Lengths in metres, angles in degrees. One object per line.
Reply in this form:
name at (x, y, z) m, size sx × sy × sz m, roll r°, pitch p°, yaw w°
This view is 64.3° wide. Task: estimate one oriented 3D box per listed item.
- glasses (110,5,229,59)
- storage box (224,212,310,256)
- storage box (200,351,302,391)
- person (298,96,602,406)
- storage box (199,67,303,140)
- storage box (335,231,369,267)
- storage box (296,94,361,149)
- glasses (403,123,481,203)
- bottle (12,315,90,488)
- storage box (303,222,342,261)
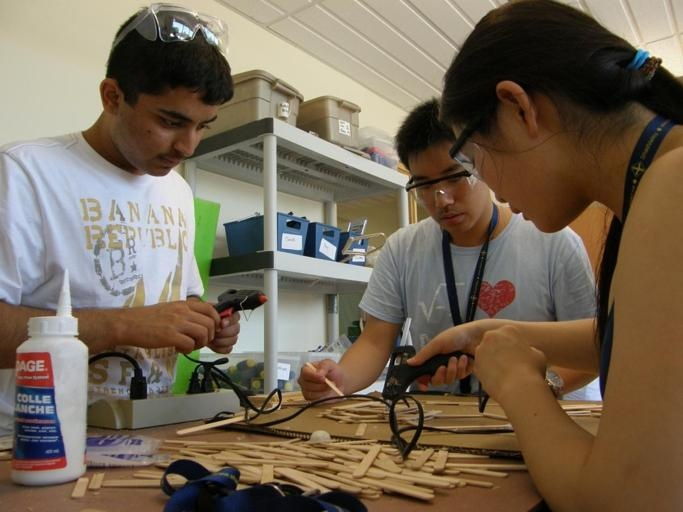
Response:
glasses at (-0.496, -0.661, 1.584) m, size 0.328 × 0.171 × 0.155 m, roll 0°, pitch -8°, yaw -19°
storage box at (-0.344, -0.084, 2.522) m, size 0.283 × 0.140 × 0.212 m, roll -13°, pitch -17°, yaw 39°
storage box at (-0.423, 0.563, 2.578) m, size 0.441 × 0.204 × 0.304 m, roll -9°, pitch -15°, yaw 28°
person at (0.347, 0.005, 2.367) m, size 1.062 × 1.480 × 1.076 m, roll 9°, pitch -14°, yaw -38°
storage box at (-0.450, -0.654, 2.614) m, size 0.480 × 0.226 × 0.339 m, roll -7°, pitch -12°, yaw 38°
storage box at (0.049, -0.025, 2.920) m, size 0.148 × 0.190 × 0.122 m, roll 9°, pitch 0°, yaw -17°
storage box at (-0.106, -0.661, 2.901) m, size 0.370 × 0.247 × 0.267 m, roll -8°, pitch -12°, yaw 43°
glasses at (0.349, -0.318, 1.877) m, size 0.204 × 0.145 × 0.278 m, roll 7°, pitch -34°, yaw 33°
bottle at (-0.508, 0.253, 0.951) m, size 0.106 × 0.288 × 0.060 m, roll 2°, pitch -8°, yaw -26°
storage box at (-0.125, -0.064, 2.747) m, size 0.157 × 0.217 × 0.223 m, roll 1°, pitch -10°, yaw 20°
